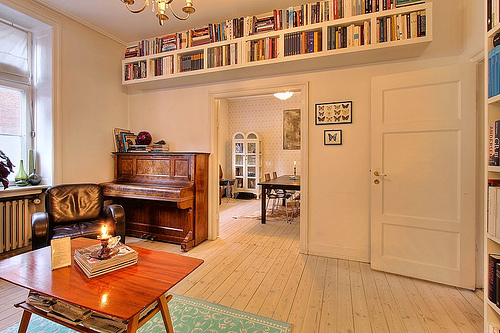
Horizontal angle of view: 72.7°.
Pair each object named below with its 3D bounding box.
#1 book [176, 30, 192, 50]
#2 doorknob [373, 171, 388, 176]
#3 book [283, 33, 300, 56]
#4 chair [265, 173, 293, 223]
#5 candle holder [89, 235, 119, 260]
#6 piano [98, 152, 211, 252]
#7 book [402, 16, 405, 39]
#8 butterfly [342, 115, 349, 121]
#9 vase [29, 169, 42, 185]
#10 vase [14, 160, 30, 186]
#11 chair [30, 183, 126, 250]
[{"bbox_3d":[-1.068,-2.075,5.678,0.244,0.323,0.331,1,2,14],"label":"book"},{"bbox_3d":[1.856,0.088,4.876,0.131,0.071,0.072,5,12,31],"label":"doorknob"},{"bbox_3d":[0.587,-1.817,5.040,0.261,0.361,0.366,0,5,2],"label":"book"},{"bbox_3d":[0.642,0.623,8.022,0.837,1.392,0.839,-1,-2,20],"label":"chair"},{"bbox_3d":[-1.597,0.864,3.741,0.257,0.153,0.260,1,-4,-10],"label":"candle holder"},{"bbox_3d":[-1.670,0.488,5.822,1.590,1.513,0.887,2,3,16],"label":"piano"},{"bbox_3d":[2.056,-1.896,4.579,0.032,0.309,0.034,0,5,29],"label":"book"},{"bbox_3d":[1.428,-0.751,5.143,0.085,0.082,0.066,6,14,25],"label":"butterfly"},{"bbox_3d":[-3.330,0.160,5.267,0.181,0.256,0.183,-3,-1,29],"label":"vase"},{"bbox_3d":[-3.498,0.090,5.219,0.162,0.393,0.172,1,5,35],"label":"vase"},{"bbox_3d":[-2.491,0.871,4.976,1.136,1.133,0.807,-4,6,-35],"label":"chair"}]
